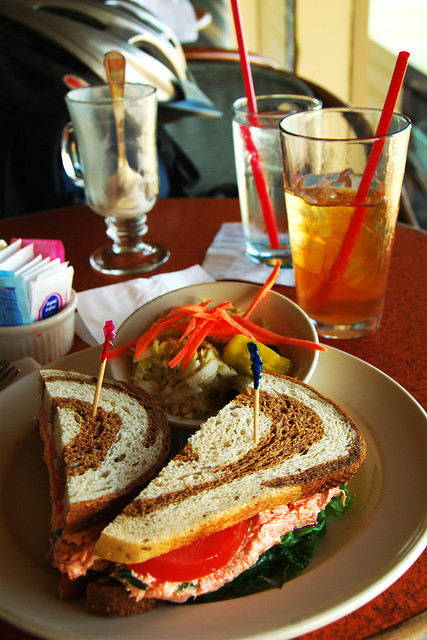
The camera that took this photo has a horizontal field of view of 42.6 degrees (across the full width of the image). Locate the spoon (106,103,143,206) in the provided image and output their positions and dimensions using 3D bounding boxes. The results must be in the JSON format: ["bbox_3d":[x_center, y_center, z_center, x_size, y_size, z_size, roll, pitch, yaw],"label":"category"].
[{"bbox_3d":[-0.203,-0.368,1.211,0.077,0.217,0.037,-8,30,-15],"label":"spoon"}]

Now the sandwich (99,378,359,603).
[{"bbox_3d":[0.034,0.197,0.630,0.174,0.084,0.322,31,42,34],"label":"sandwich"}]

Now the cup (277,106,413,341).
[{"bbox_3d":[0.223,-0.178,0.998,0.199,0.393,0.250,-12,31,-21],"label":"cup"}]

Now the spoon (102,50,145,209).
[{"bbox_3d":[-0.208,-0.417,1.244,0.098,0.332,0.106,-3,13,-5],"label":"spoon"}]

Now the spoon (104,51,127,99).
[{"bbox_3d":[-0.216,-0.540,1.199,0.042,0.092,0.086,-5,29,-9],"label":"spoon"}]
